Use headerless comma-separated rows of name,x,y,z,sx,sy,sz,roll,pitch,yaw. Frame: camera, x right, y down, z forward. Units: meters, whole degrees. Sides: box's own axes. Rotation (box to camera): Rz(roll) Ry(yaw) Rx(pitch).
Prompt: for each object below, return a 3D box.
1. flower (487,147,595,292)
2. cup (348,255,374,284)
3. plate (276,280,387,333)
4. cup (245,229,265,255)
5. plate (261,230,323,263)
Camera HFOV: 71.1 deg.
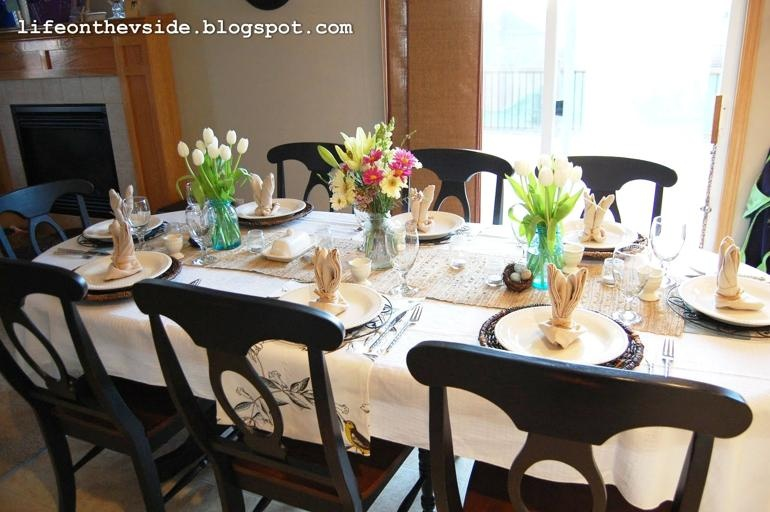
flower,0.634,-0.226,2.205,0.434,0.719,0.416,7,26,25
cup,-0.088,0.051,2.132,0.090,0.100,0.089,-1,15,0
plate,-0.136,0.167,1.866,0.212,0.030,0.211,-11,27,-33
cup,-0.562,-0.064,2.360,0.092,0.102,0.094,-2,10,0
plate,-0.396,-0.037,2.345,0.146,0.090,0.220,8,20,23
